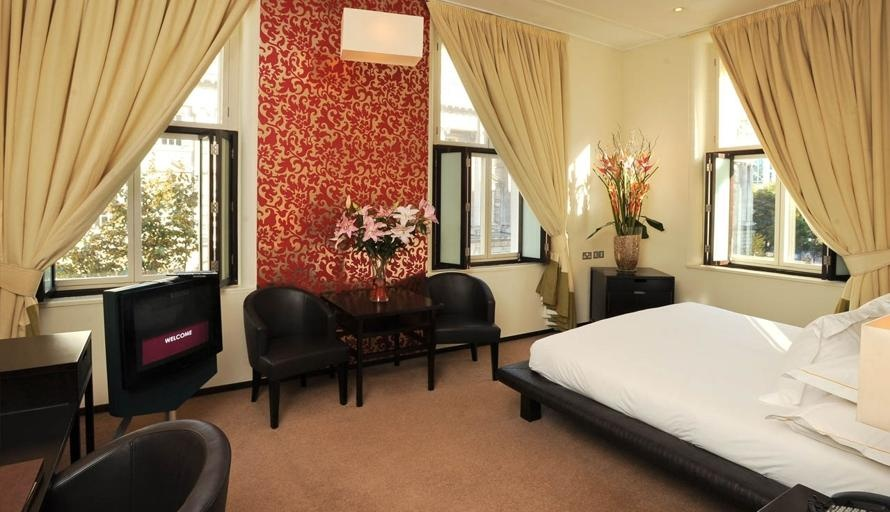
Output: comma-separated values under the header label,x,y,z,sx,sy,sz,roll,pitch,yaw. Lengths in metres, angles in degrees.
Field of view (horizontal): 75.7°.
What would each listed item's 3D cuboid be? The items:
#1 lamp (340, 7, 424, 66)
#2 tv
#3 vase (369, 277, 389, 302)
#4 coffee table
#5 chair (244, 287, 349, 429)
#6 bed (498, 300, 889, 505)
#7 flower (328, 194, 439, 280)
label,x,y,z,sx,sy,sz,roll,pitch,yaw
lamp,-0.573,-2.010,5.255,0.724,0.439,0.203,-2,4,-10
tv,-2.203,0.625,4.616,0.516,0.916,0.976,1,3,24
vase,-0.693,0.358,6.060,0.241,0.242,0.218,-2,4,-18
coffee table,-0.628,0.919,6.246,1.206,1.166,1.104,-2,2,-30
chair,-1.476,0.958,5.711,0.956,1.273,0.664,-3,4,-20
bed,2.127,1.046,4.689,1.654,0.358,1.582,-10,16,-41
flower,-0.718,-0.075,6.278,0.965,0.815,0.936,0,-7,-27
